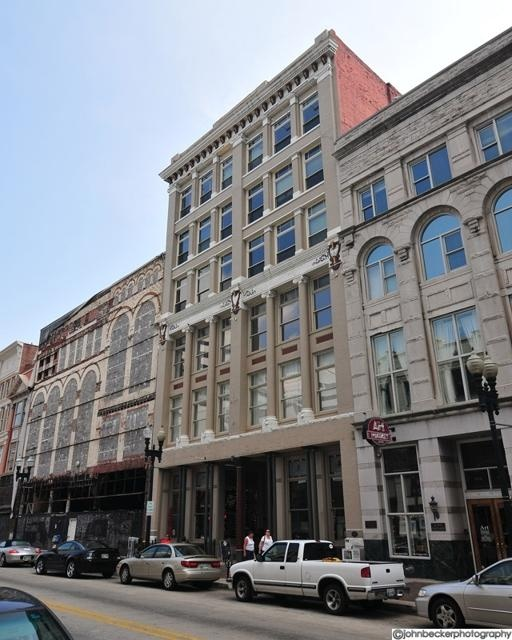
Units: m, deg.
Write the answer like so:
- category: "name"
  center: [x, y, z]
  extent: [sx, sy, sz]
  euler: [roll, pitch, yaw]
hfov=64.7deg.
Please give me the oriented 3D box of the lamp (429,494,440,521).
- category: "lamp"
  center: [6.569, 6.924, 14.880]
  extent: [0.223, 0.825, 0.370]
  euler: [16, -29, -35]

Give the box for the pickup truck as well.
- category: "pickup truck"
  center: [1.386, 7.105, 11.342]
  extent: [1.615, 1.639, 5.419]
  euler: [18, -32, -37]

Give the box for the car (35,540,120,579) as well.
- category: "car"
  center: [-8.847, 11.325, 19.226]
  extent: [4.939, 1.522, 1.845]
  euler: [-13, -26, 22]

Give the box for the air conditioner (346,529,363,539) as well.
- category: "air conditioner"
  center: [4.168, 9.091, 17.152]
  extent: [0.263, 0.326, 0.824]
  euler: [16, -31, -35]
